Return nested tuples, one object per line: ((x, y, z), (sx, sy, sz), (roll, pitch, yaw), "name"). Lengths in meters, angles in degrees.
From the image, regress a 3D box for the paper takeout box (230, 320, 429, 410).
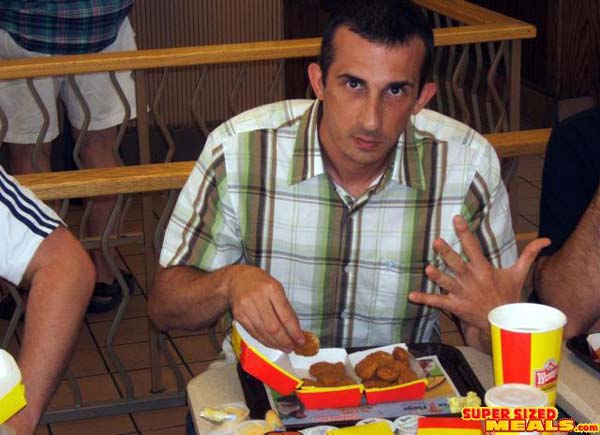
((0.072, 0.403, 1.378), (0.392, 0.149, 0.246), (-6, 19, -5), "paper takeout box")

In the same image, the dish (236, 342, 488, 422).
((0.187, 0.437, 1.309), (0.413, 0.047, 0.254), (-2, 32, -12), "dish")
